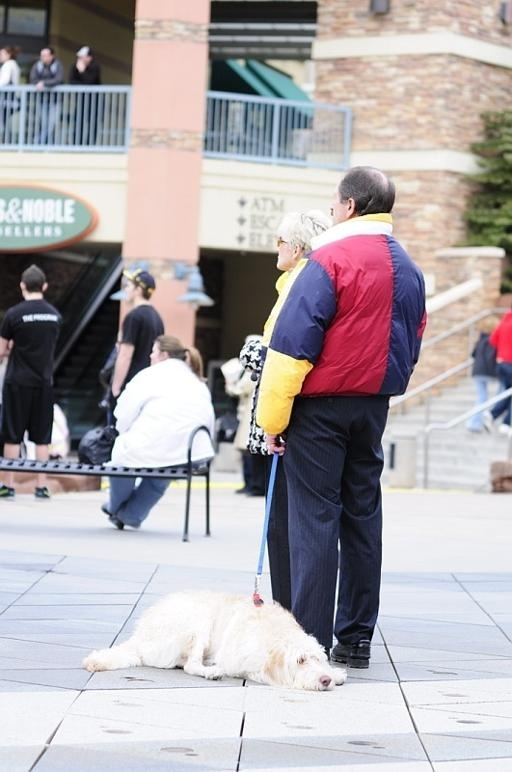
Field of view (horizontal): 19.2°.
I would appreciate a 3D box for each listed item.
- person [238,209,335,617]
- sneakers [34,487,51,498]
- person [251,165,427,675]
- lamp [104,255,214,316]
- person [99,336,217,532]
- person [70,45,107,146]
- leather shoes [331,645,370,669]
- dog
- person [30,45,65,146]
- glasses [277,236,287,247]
[{"bbox_3d":[0.157,0.122,6.202,0.498,1.642,0.498,-3,8,-31],"label":"person"},{"bbox_3d":[-1.509,0.753,10.693,0.050,0.063,0.152,2,0,14],"label":"sneakers"},{"bbox_3d":[0.309,0.113,5.678,0.646,1.886,0.377,3,5,-12],"label":"person"},{"bbox_3d":[-1.107,-1.278,17.848,1.169,0.345,0.891,3,1,13],"label":"lamp"},{"bbox_3d":[-0.552,0.300,8.737,0.621,1.165,0.573,3,5,-6],"label":"person"},{"bbox_3d":[-2.068,-3.526,18.412,0.422,1.239,1.142,3,5,-7],"label":"person"},{"bbox_3d":[0.351,1.022,5.726,0.068,0.075,0.153,3,1,-25],"label":"leather shoes"},{"bbox_3d":[-0.119,0.895,5.361,0.683,0.238,0.407,-1,-7,20],"label":"dog"},{"bbox_3d":[-2.523,-3.470,18.094,0.356,1.136,0.687,3,5,-9],"label":"person"},{"bbox_3d":[0.096,-0.585,6.099,0.032,0.042,0.025,0,5,-21],"label":"glasses"}]
